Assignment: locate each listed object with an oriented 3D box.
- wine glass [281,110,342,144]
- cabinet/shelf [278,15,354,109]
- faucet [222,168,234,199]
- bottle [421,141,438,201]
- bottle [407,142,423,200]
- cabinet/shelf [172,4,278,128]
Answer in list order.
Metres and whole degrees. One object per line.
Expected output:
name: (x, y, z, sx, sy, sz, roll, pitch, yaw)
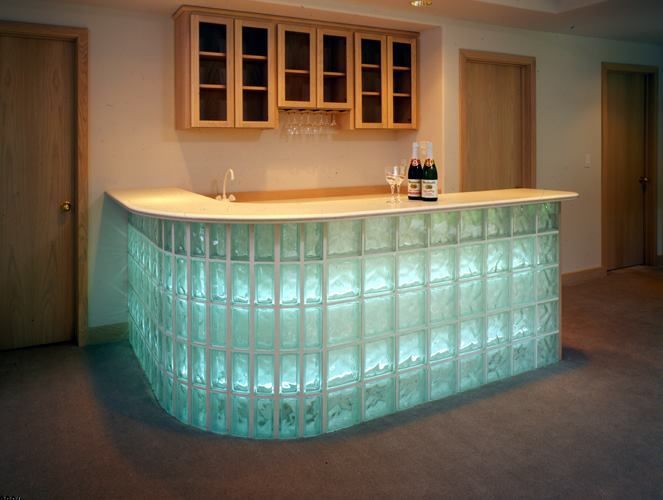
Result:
wine glass: (-0.186, -1.299, 5.230, 0.676, 0.280, 0.239, -6, 12, -24)
cabinet/shelf: (-0.177, -1.845, 4.899, 0.768, 0.776, 0.250, -4, 6, -33)
faucet: (-0.992, -0.638, 4.849, 0.127, 0.286, 0.400, -2, 12, -11)
bottle: (0.708, -0.584, 3.684, 0.106, 0.397, 0.408, 1, 11, 10)
bottle: (0.617, -0.593, 3.734, 0.098, 0.395, 0.383, 1, 11, 8)
cabinet/shelf: (-0.985, -1.694, 4.544, 0.933, 1.092, 0.356, -2, 4, -28)
